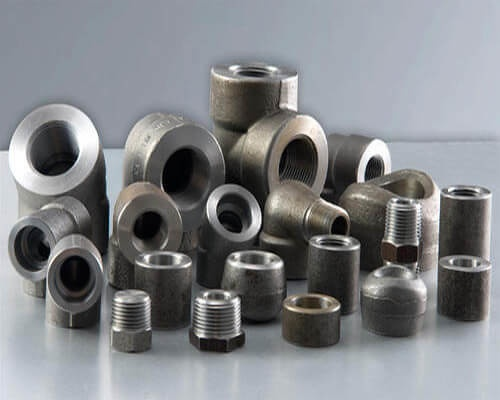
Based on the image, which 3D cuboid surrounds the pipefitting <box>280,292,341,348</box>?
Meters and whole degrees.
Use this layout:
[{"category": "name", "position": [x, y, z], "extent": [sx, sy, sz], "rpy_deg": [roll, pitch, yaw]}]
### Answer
[{"category": "pipefitting", "position": [0.238, 0.458, 2.363], "extent": [0.234, 0.184, 0.175], "rpy_deg": [-1, 3, -1]}]

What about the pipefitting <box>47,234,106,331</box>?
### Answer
[{"category": "pipefitting", "position": [-0.688, 0.324, 2.436], "extent": [0.226, 0.365, 0.229], "rpy_deg": [-2, 3, -16]}]

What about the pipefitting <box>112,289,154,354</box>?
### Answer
[{"category": "pipefitting", "position": [-0.418, 0.428, 2.330], "extent": [0.174, 0.230, 0.178], "rpy_deg": [-1, 8, -12]}]

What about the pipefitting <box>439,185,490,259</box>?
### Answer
[{"category": "pipefitting", "position": [0.982, 0.104, 2.857], "extent": [0.226, 0.333, 0.193], "rpy_deg": [-2, 3, -20]}]

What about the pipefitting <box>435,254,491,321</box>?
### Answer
[{"category": "pipefitting", "position": [0.871, 0.323, 2.632], "extent": [0.214, 0.281, 0.228], "rpy_deg": [7, 13, 30]}]

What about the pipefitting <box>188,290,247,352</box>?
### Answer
[{"category": "pipefitting", "position": [-0.116, 0.447, 2.332], "extent": [0.174, 0.198, 0.205], "rpy_deg": [-2, 11, -24]}]
